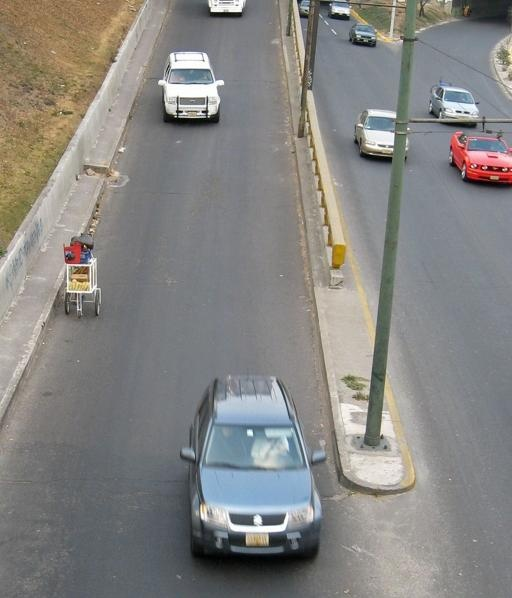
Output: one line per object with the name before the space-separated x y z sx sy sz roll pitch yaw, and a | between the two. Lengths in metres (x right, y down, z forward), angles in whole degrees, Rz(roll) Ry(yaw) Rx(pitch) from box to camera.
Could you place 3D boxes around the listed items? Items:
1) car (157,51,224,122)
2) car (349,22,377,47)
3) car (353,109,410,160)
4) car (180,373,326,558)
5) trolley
car | -2.472 -7.715 29.240 2.000 1.622 2.904 -4 33 -8
car | 6.602 -16.698 49.773 0.933 1.164 2.185 2 24 -7
car | 4.165 -5.756 27.837 1.307 1.396 2.442 4 33 6
car | -0.095 2.135 10.437 1.004 1.222 2.602 0 11 -4
trolley | -3.701 -0.453 16.629 0.770 1.828 1.539 -5 29 -10
